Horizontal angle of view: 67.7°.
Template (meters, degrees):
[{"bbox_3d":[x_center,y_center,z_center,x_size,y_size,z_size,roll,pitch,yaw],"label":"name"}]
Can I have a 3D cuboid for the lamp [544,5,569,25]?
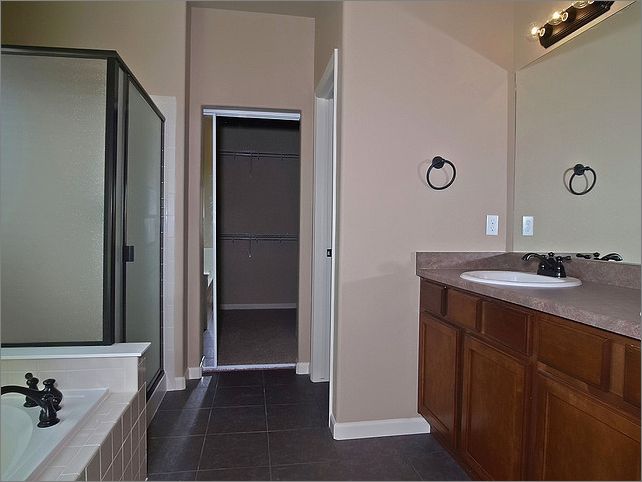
[{"bbox_3d":[1.407,-1.339,2.833,0.029,0.084,0.081,15,-47,-35],"label":"lamp"}]

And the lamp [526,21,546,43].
[{"bbox_3d":[1.339,-1.311,2.996,0.077,0.082,0.103,-34,19,7],"label":"lamp"}]

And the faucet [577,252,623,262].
[{"bbox_3d":[1.531,0.081,2.640,0.024,0.058,0.279,-1,7,-23],"label":"faucet"}]

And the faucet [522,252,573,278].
[{"bbox_3d":[1.298,0.136,2.738,0.171,0.105,0.187,2,-1,3],"label":"faucet"}]
